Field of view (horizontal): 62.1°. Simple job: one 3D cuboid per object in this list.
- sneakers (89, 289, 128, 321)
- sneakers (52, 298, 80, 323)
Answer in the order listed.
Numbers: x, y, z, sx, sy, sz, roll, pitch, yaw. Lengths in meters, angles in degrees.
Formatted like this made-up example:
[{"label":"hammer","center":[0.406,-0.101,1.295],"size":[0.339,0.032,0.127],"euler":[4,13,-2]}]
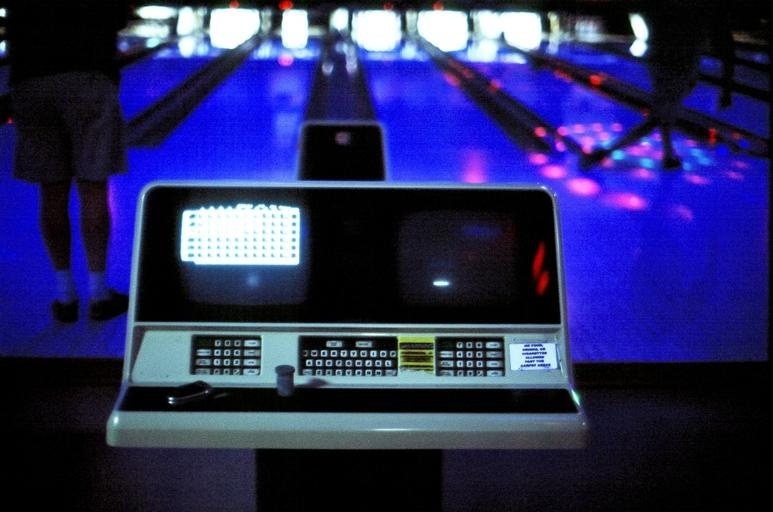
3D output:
[{"label":"sneakers","center":[-1.557,0.278,3.598],"size":[0.135,0.131,0.337],"euler":[3,9,8]},{"label":"sneakers","center":[-1.767,0.307,3.595],"size":[0.144,0.117,0.124],"euler":[5,-1,0]}]
